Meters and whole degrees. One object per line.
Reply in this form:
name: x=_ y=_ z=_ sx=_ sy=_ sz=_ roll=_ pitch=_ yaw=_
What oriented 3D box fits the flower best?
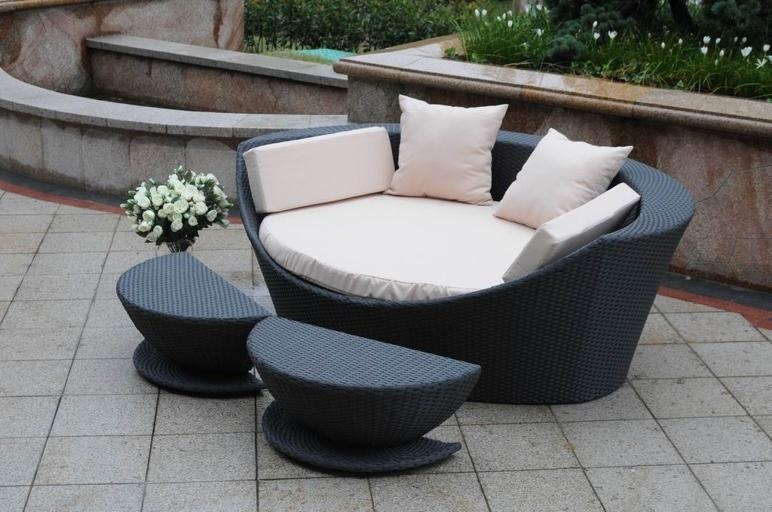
flower: x=-1.392 y=-0.289 z=5.521 sx=0.685 sy=0.541 sz=0.361 roll=-5 pitch=33 yaw=-15

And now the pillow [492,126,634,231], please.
pillow: x=1.182 y=-0.444 z=5.284 sx=0.717 sy=0.665 sz=0.222 roll=25 pitch=-12 yaw=48

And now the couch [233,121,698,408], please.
couch: x=0.503 y=-0.038 z=5.825 sx=3.123 sy=1.375 sz=2.638 roll=-1 pitch=19 yaw=-12

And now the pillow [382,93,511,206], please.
pillow: x=0.430 y=-0.699 z=5.673 sx=1.041 sy=0.713 sz=0.447 roll=5 pitch=31 yaw=10
